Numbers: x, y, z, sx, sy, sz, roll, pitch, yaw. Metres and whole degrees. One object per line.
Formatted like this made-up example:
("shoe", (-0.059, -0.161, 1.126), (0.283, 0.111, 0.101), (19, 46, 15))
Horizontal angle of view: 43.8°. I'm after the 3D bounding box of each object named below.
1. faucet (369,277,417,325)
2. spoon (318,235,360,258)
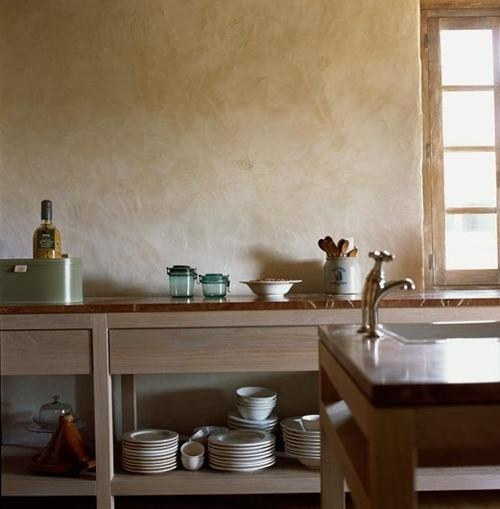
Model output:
("faucet", (0.437, 0.141, 1.925), (0.129, 0.145, 0.182), (2, 7, 20))
("spoon", (0.458, -0.038, 3.254), (0.139, 0.142, 0.037), (5, -25, 8))
